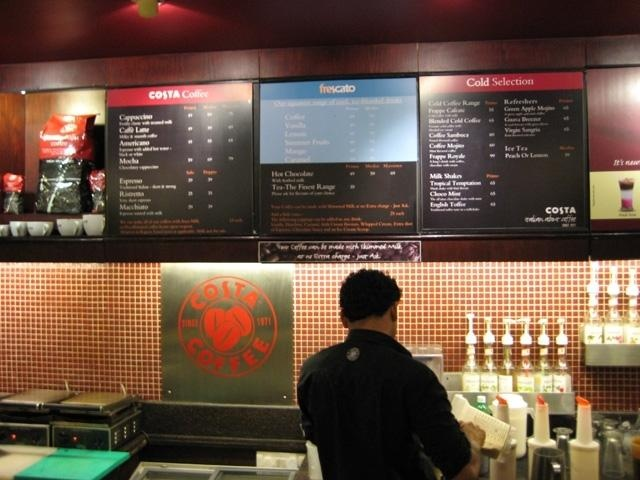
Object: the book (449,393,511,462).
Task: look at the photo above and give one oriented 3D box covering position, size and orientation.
[{"bbox_3d":[0.859,1.004,3.135,0.355,0.230,0.132,24,-17,34],"label":"book"}]
